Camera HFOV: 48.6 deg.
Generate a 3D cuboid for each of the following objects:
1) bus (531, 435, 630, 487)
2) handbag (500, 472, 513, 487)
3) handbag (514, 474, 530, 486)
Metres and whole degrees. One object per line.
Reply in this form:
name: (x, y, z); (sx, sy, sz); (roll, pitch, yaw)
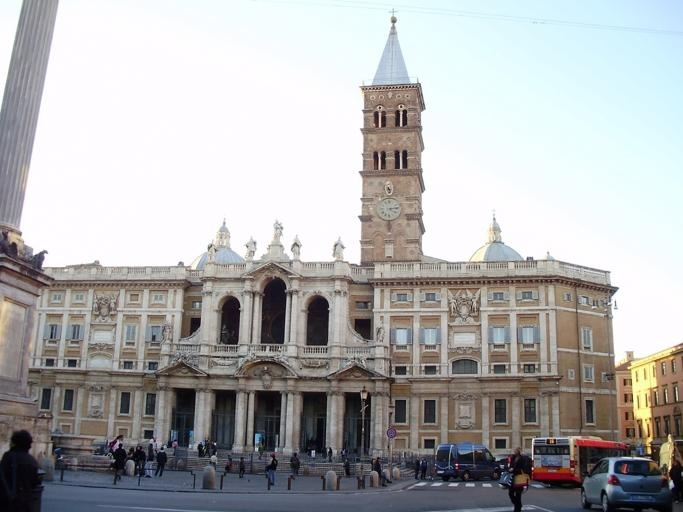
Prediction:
bus: (17.329, 13.654, 51.623); (10.491, 2.949, 3.672); (8, -13, -38)
handbag: (6.537, 8.972, 30.454); (0.399, 0.557, 0.741); (1, -19, -2)
handbag: (7.061, 8.900, 30.085); (0.495, 0.467, 0.186); (-4, -41, 12)
